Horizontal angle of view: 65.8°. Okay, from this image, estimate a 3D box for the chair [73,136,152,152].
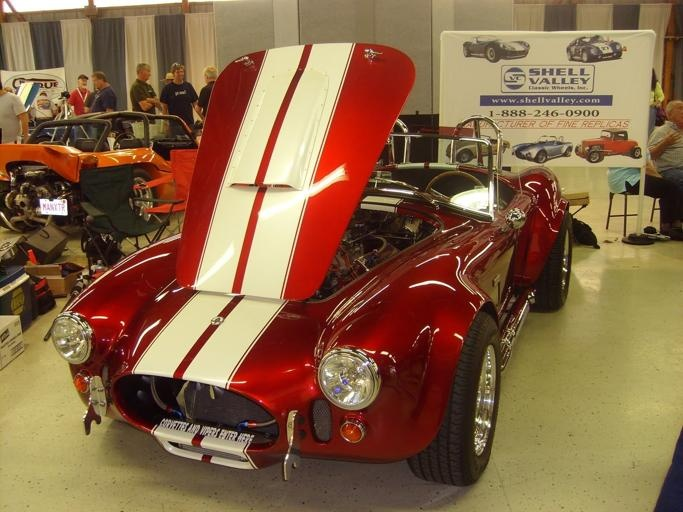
[{"bbox_3d":[-2.729,-1.322,6.210,0.570,0.210,0.407,-10,16,-41],"label":"chair"}]

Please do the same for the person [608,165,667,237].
[{"bbox_3d":[3.276,-0.621,5.683,0.440,0.686,0.663,-8,16,-30],"label":"person"}]

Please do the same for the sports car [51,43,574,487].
[{"bbox_3d":[0.162,-0.275,3.411,1.986,1.594,3.537,5,22,27],"label":"sports car"}]

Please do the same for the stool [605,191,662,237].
[{"bbox_3d":[3.399,-0.478,6.092,0.606,0.525,0.471,-14,14,-42],"label":"stool"}]

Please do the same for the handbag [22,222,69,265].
[{"bbox_3d":[-2.734,-0.107,4.874,0.202,0.244,0.370,39,29,-2],"label":"handbag"}]

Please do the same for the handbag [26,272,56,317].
[{"bbox_3d":[-2.320,0.287,4.013,0.192,0.311,0.233,4,14,-13],"label":"handbag"}]

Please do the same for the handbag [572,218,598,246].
[{"bbox_3d":[2.480,-0.241,5.318,0.261,0.270,0.164,6,15,25],"label":"handbag"}]
